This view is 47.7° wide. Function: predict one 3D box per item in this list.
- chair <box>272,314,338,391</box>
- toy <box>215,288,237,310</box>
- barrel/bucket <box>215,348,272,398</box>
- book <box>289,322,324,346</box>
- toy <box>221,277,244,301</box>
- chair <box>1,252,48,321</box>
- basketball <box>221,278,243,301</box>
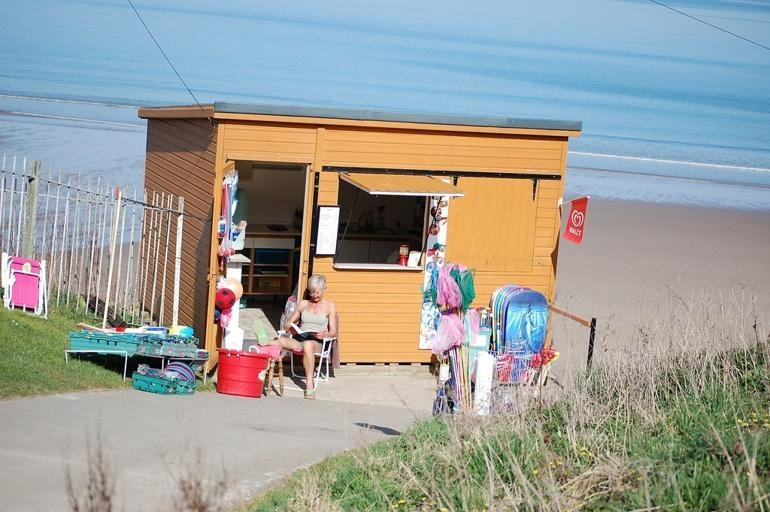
[{"bbox_3d":[-1.336,1.557,14.983,1.054,1.355,0.970,-5,-10,24],"label":"chair"},{"bbox_3d":[-2.712,0.699,14.893,0.331,0.399,0.340,-10,6,-12],"label":"toy"},{"bbox_3d":[-2.328,1.927,14.156,0.796,0.620,0.773,6,-8,1],"label":"barrel/bucket"},{"bbox_3d":[-1.341,1.343,14.826,0.463,0.193,0.284,6,-2,3],"label":"book"},{"bbox_3d":[-2.636,0.571,15.031,0.340,0.410,0.349,-9,-5,23],"label":"toy"},{"bbox_3d":[-6.422,0.518,15.562,0.940,1.277,0.997,2,5,-25],"label":"chair"},{"bbox_3d":[-2.590,0.560,15.046,0.340,0.403,0.339,-6,11,-31],"label":"basketball"}]
